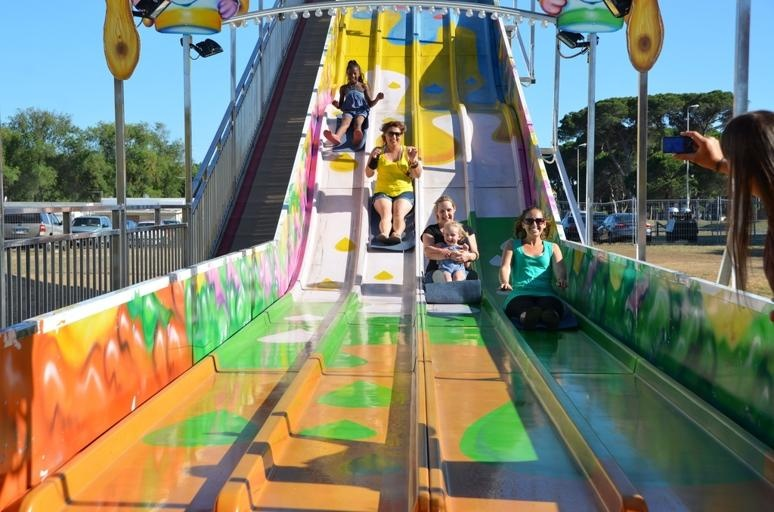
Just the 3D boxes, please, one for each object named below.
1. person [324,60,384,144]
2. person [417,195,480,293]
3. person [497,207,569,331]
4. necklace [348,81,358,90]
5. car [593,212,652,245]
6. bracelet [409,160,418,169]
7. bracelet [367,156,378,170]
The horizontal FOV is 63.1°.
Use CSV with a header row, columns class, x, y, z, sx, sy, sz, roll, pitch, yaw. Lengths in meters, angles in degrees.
class,x,y,z,sx,sy,sz,roll,pitch,yaw
person,-0.493,-2.423,10.105,0.740,0.818,1.544,0,40,5
person,0.731,-0.114,7.122,0.584,1.198,0.938,-2,1,3
person,1.462,0.205,6.174,0.667,1.308,1.142,3,-11,1
necklace,-0.543,-2.839,10.477,0.137,0.075,0.205,1,11,1
car,7.146,-0.817,19.223,1.204,1.129,3.047,-1,5,4
bracelet,0.375,-1.215,8.378,0.083,0.065,0.087,2,-4,-7
bracelet,-0.177,-1.261,8.539,0.110,0.137,0.128,12,17,29
